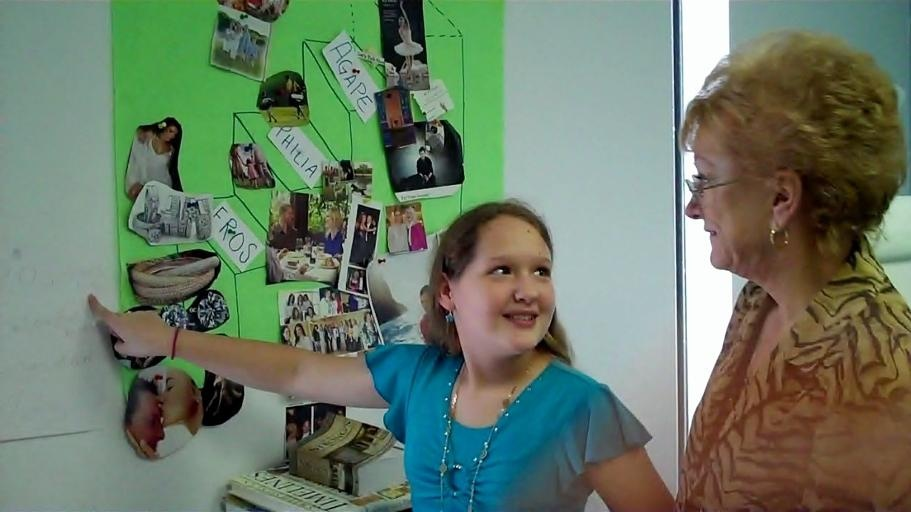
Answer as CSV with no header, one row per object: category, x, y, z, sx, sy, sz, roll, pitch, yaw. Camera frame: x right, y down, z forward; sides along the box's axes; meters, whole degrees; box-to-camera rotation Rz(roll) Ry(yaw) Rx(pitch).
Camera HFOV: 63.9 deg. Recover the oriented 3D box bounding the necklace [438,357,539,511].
necklace,0.079,0.522,1.986,0.236,0.328,0.143,-2,4,23
